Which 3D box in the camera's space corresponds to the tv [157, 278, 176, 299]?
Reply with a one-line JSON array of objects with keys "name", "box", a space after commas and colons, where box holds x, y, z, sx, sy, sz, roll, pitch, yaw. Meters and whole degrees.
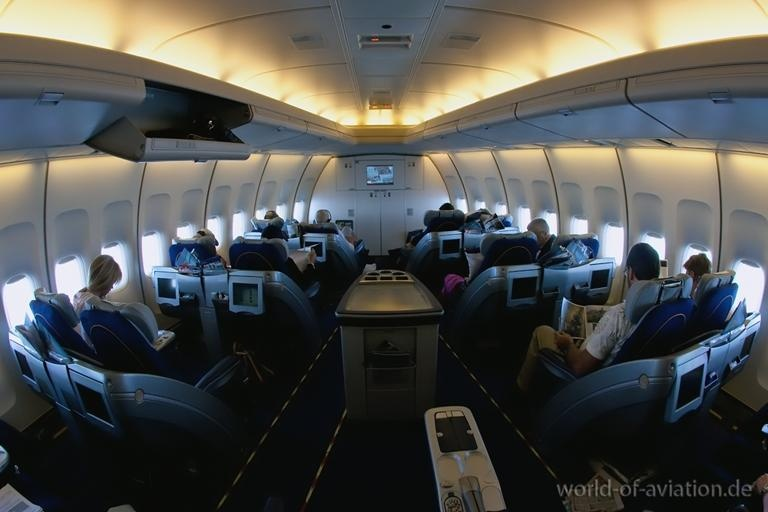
[{"name": "tv", "box": [-3.261, 0.458, 7.674, 0.282, 0.324, 0.028, 8, 23, 16]}]

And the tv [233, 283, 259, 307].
[{"name": "tv", "box": [-1.956, 0.523, 7.267, 0.302, 0.289, 0.166, 3, 12, 8]}]

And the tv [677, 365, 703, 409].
[{"name": "tv", "box": [3.326, 1.396, 5.591, 0.458, 0.325, 0.022, -20, 17, -26]}]

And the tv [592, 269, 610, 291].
[{"name": "tv", "box": [3.375, 0.342, 8.009, 0.329, 0.287, 0.032, -7, 26, -25]}]

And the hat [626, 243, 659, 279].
[{"name": "hat", "box": [2.973, 0.047, 6.017, 0.354, 0.406, 0.436, 3, 29, 17]}]

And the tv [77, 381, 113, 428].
[{"name": "tv", "box": [-3.115, 1.570, 5.520, 0.591, 0.601, 0.033, 4, 28, 29]}]

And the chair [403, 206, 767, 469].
[{"name": "chair", "box": [2.286, 0.951, 7.108, 2.285, 1.676, 3.966, -6, 21, -18]}]
